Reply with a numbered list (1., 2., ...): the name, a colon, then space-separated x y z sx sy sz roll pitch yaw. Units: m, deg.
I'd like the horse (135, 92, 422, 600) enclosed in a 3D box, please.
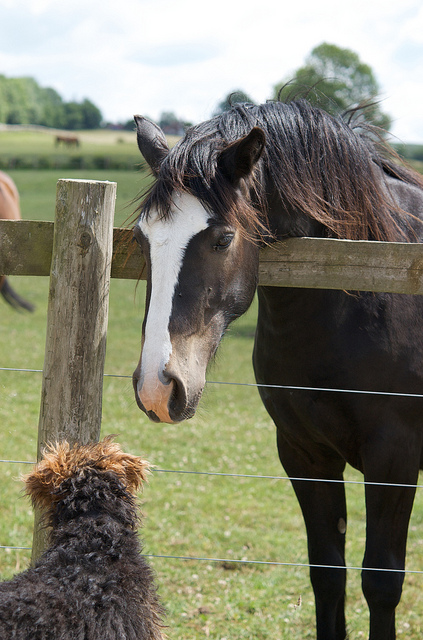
1. horse: 0.337 0.349 5.676 1.452 2.867 1.569 2 16 -4
